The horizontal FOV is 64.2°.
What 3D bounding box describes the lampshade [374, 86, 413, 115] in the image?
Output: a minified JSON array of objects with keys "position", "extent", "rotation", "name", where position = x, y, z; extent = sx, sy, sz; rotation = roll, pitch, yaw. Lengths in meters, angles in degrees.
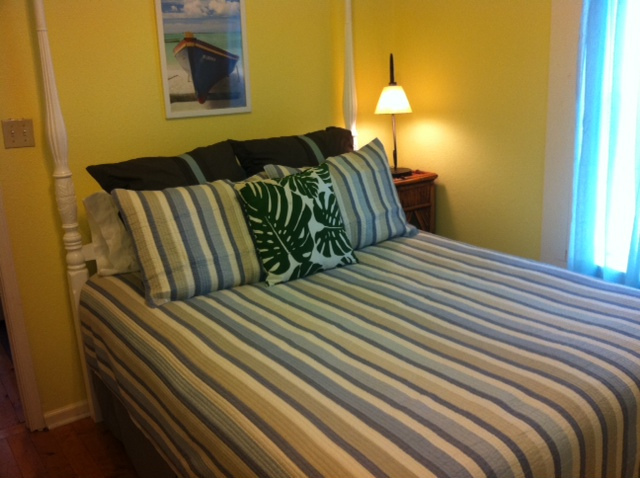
[{"position":[0.464,-0.905,3.304],"extent":[0.245,0.194,0.269],"rotation":[6,16,30],"name":"lampshade"}]
